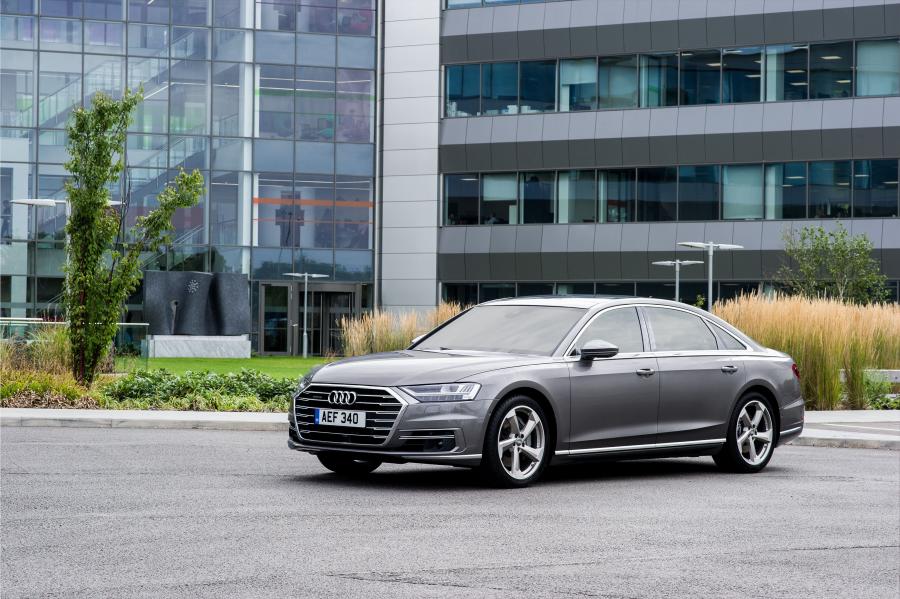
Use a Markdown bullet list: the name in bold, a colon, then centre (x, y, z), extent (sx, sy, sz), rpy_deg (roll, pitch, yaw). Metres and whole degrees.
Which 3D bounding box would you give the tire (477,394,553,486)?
- **tire**: centre (0.771, 1.675, 14.632), extent (0.827, 0.820, 0.264), rpy_deg (41, -17, -16)

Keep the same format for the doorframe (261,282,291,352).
- **doorframe**: centre (-7.080, 0.827, 48.961), extent (1.258, 3.146, 0.404), rpy_deg (1, 13, -8)

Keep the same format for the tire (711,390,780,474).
- **tire**: centre (3.981, 1.794, 16.396), extent (1.166, 1.120, 0.443), rpy_deg (1, 0, -44)
